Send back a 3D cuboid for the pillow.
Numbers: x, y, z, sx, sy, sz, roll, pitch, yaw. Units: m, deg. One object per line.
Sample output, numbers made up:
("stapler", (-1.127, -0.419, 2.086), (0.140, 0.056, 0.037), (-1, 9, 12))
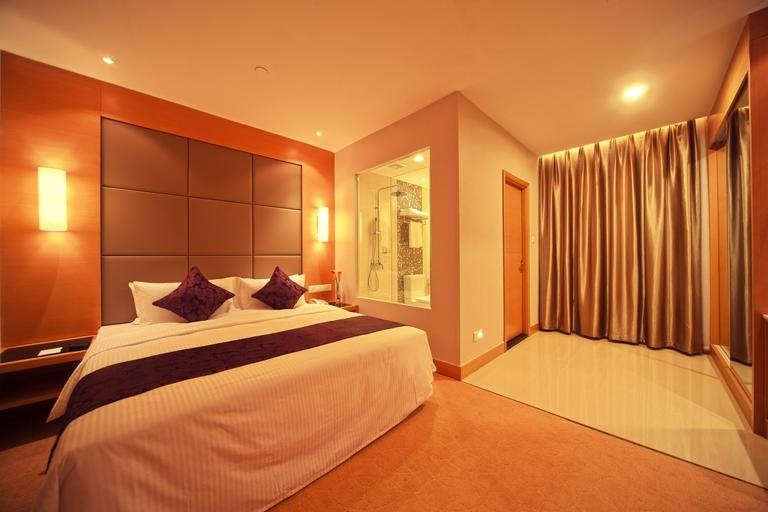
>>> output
("pillow", (-2.169, 0.474, 5.823), (1.605, 0.481, 0.596), (-8, 16, -25))
